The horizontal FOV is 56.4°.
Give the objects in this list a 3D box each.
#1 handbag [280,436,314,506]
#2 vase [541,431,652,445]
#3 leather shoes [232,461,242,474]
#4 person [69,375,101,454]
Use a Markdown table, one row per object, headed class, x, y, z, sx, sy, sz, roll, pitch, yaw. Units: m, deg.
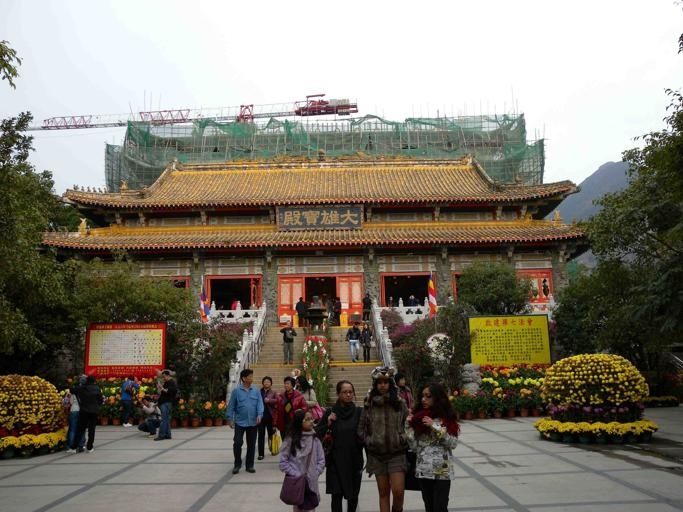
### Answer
| class | x | y | z | sx | sy | sz | roll | pitch | yaw |
| --- | --- | --- | --- | --- | --- | --- | --- | --- | --- |
| handbag | -0.773 | 3.629 | 10.349 | 0.598 | 1.157 | 0.532 | 11 | -11 | -17 |
| vase | 5.877 | 4.155 | 14.623 | 2.365 | 0.346 | 0.550 | -4 | -15 | 6 |
| leather shoes | -2.063 | 4.195 | 12.593 | 0.141 | 0.168 | 0.391 | 0 | -17 | 0 |
| person | -5.787 | 3.571 | 14.494 | 0.568 | 1.705 | 0.594 | 3 | -16 | -21 |
